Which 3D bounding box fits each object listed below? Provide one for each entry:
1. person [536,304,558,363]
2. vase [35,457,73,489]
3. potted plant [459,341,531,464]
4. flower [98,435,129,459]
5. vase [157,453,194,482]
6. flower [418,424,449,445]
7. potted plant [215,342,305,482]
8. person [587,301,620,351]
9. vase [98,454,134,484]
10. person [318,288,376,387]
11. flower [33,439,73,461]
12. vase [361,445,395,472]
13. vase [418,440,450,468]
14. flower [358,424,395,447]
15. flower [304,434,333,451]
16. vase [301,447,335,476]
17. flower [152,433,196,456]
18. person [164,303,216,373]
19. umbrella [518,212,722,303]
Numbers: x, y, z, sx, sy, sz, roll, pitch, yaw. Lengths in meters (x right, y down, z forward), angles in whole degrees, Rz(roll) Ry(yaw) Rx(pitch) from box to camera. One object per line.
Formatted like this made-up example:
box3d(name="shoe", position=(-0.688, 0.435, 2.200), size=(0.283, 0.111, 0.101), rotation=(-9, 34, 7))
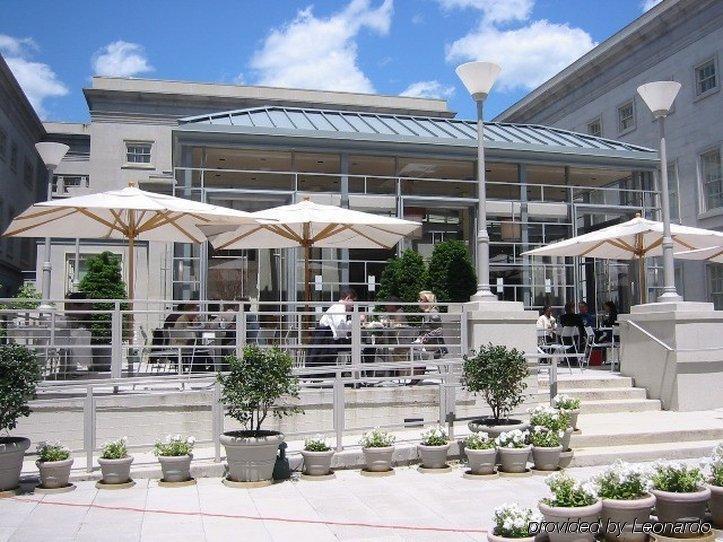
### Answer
box3d(name="person", position=(4.601, 1.539, 16.326), size=(0.506, 1.320, 0.445), rotation=(-11, 17, -20))
box3d(name="vase", position=(-3.871, 2.542, 8.379), size=(0.383, 0.255, 0.371), rotation=(0, -12, 0))
box3d(name="potted plant", position=(2.165, 1.763, 9.551), size=(1.221, 1.482, 1.375), rotation=(-2, -1, -2))
box3d(name="flower", position=(-3.218, 2.328, 8.749), size=(0.280, 0.194, 0.293), rotation=(1, -4, -4))
box3d(name="vase", position=(-2.443, 2.586, 8.689), size=(0.376, 0.244, 0.362), rotation=(1, -23, -6))
box3d(name="flower", position=(1.029, 2.323, 9.475), size=(0.270, 0.186, 0.281), rotation=(0, -3, -10))
box3d(name="potted plant", position=(-1.450, 1.960, 9.399), size=(1.151, 1.801, 1.366), rotation=(0, -6, -5))
box3d(name="person", position=(6.475, 1.488, 17.772), size=(1.156, 1.235, 1.281), rotation=(-1, -2, 39))
box3d(name="vase", position=(-3.173, 2.544, 8.569), size=(0.359, 0.231, 0.357), rotation=(-6, -15, 28))
box3d(name="person", position=(-0.470, 1.071, 11.629), size=(0.718, 1.541, 1.255), rotation=(0, -6, -1))
box3d(name="flower", position=(-3.949, 2.306, 8.481), size=(0.273, 0.183, 0.329), rotation=(-1, -4, -13))
box3d(name="vase", position=(0.245, 2.630, 9.282), size=(0.370, 0.236, 0.361), rotation=(13, -24, -36))
box3d(name="vase", position=(1.026, 2.593, 9.410), size=(0.366, 0.235, 0.363), rotation=(-6, -12, 21))
box3d(name="flower", position=(0.208, 2.444, 9.832), size=(0.517, 0.268, 0.508), rotation=(0, -1, -7))
box3d(name="flower", position=(-0.649, 2.375, 9.256), size=(0.247, 0.136, 0.249), rotation=(4, -4, -26))
box3d(name="vase", position=(-0.610, 2.602, 9.131), size=(0.374, 0.245, 0.371), rotation=(-4, -10, 21))
box3d(name="flower", position=(-2.498, 2.344, 8.975), size=(0.432, 0.258, 0.463), rotation=(-1, -4, -6))
box3d(name="person", position=(-3.090, 1.253, 11.886), size=(0.744, 1.054, 1.519), rotation=(-3, 0, -24))
box3d(name="umbrella", position=(6.394, -0.195, 15.305), size=(3.199, 1.932, 3.042), rotation=(4, -8, -37))
